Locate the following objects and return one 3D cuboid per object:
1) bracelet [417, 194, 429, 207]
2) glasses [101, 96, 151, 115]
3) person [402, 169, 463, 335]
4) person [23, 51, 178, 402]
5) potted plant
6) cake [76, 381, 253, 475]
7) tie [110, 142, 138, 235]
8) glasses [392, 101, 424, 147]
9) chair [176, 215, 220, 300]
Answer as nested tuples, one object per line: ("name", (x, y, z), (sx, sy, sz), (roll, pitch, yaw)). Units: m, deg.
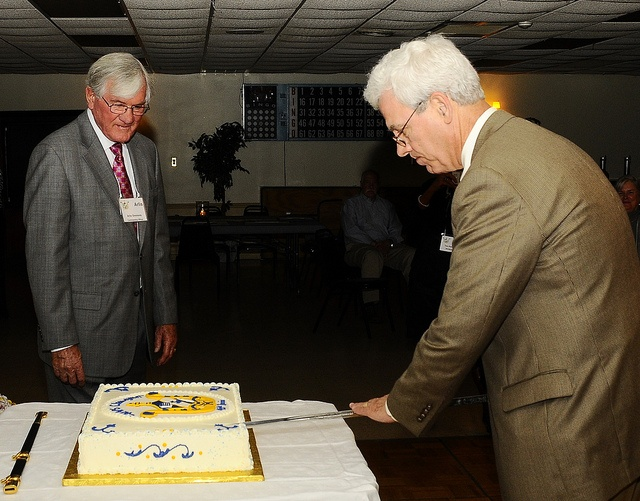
("bracelet", (0.942, -0.465, 4.425), (0.137, 0.159, 0.061), (-2, 0, 19))
("glasses", (-0.715, -0.538, 1.798), (0.095, 0.060, 0.186), (8, 12, 42))
("person", (0.806, 0.080, 3.571), (0.305, 1.209, 0.854), (5, 10, 5))
("person", (-0.833, -0.066, 1.869), (0.552, 1.357, 0.403), (-6, 11, -33))
("potted plant", (-1.781, -1.421, 8.405), (0.826, 1.574, 0.445), (0, 9, 2))
("cake", (-0.428, 0.467, 1.335), (0.422, 0.098, 0.504), (-2, 9, -16))
("tie", (-0.788, -0.267, 1.905), (0.061, 0.443, 0.058), (-5, -8, -30))
("glasses", (0.208, -0.308, 1.171), (0.021, 0.073, 0.069), (26, 11, 21))
("chair", (-1.785, 0.047, 6.908), (0.642, 1.164, 1.629), (-2, 9, -13))
